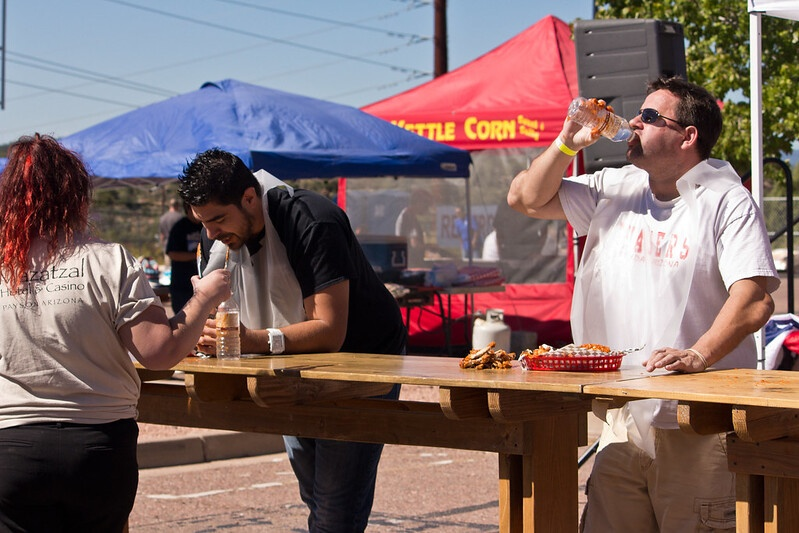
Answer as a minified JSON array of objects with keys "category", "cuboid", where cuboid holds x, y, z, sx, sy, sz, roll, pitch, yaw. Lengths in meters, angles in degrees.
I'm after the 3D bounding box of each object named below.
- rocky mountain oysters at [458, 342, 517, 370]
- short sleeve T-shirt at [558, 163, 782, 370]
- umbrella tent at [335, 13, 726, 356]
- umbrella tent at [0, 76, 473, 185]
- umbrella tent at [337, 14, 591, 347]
[{"category":"rocky mountain oysters","cuboid":[0.423,0.441,5.448,0.265,0.129,0.291,-1,2,2]},{"category":"short sleeve T-shirt","cuboid":[1.364,0.017,5.591,0.626,1.201,1.162,17,-18,-35]},{"category":"umbrella tent","cuboid":[0.854,-1.125,14.844,3.619,3.404,3.904,-1,7,8]},{"category":"umbrella tent","cuboid":[-1.187,-1.155,10.138,2.095,0.680,2.241,2,-6,-29]},{"category":"umbrella tent","cuboid":[1.018,-1.012,15.370,3.559,3.889,3.786,-2,0,26]}]
